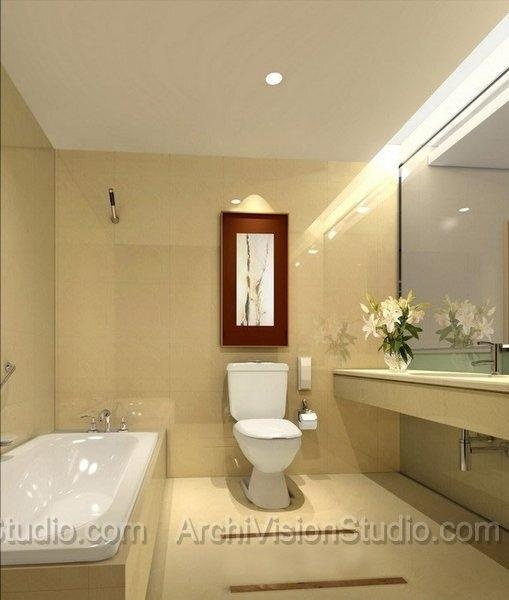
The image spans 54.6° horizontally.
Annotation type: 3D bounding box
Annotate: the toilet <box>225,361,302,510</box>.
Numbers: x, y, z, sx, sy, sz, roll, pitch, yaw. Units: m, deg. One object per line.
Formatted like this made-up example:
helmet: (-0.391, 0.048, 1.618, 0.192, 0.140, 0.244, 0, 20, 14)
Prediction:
toilet: (0.039, 0.684, 2.566, 0.392, 0.663, 0.565, 0, 2, -2)

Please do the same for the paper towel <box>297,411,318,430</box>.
paper towel: (0.292, 0.654, 2.718, 0.080, 0.106, 0.092, 2, -8, -8)

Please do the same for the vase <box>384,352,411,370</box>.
vase: (0.772, 0.336, 2.681, 0.091, 0.089, 0.108, 0, -7, 4)

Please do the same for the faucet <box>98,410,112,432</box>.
faucet: (-0.773, 0.631, 2.553, 0.063, 0.121, 0.224, 0, 2, -17)

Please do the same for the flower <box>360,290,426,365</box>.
flower: (0.753, 0.197, 2.762, 0.304, 0.435, 0.296, -8, 3, -40)
